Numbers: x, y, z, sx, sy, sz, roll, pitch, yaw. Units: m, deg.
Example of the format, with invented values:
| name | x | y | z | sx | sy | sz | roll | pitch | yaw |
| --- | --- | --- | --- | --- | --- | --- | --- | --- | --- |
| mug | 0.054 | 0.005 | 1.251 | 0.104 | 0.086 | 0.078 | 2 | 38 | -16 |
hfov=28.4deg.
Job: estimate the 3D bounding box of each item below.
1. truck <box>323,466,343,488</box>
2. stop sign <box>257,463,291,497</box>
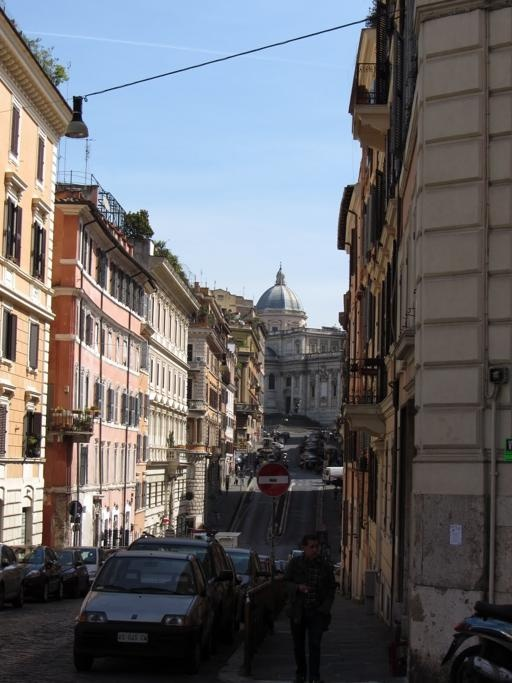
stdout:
| name | x | y | z | sx | sy | sz | roll | pitch | yaw |
| --- | --- | --- | --- | --- | --- | --- | --- | --- | --- |
| truck | 7.045 | 12.570 | 93.131 | 1.760 | 2.627 | 10.151 | -1 | -13 | 4 |
| stop sign | 0.278 | 2.180 | 15.970 | 0.469 | 0.638 | 1.050 | -1 | -13 | 2 |
